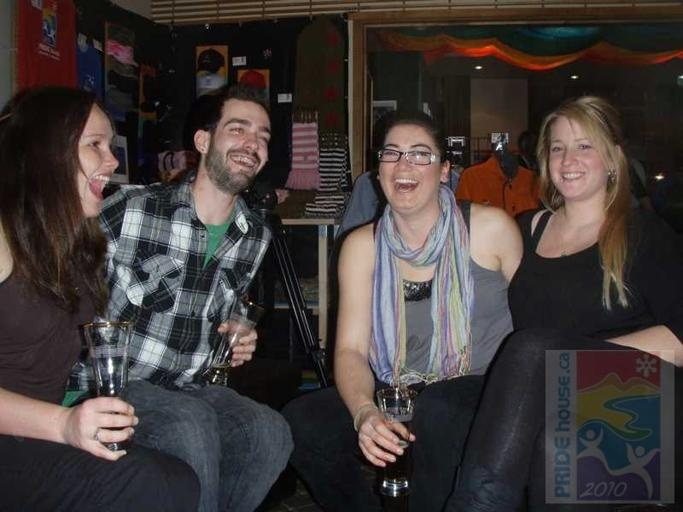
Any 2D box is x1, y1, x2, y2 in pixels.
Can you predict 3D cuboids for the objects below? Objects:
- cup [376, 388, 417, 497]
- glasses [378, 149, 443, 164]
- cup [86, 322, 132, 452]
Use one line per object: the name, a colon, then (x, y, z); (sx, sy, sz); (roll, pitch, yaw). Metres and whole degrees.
cup: (0.186, 0.661, 2.070); (0.128, 0.404, 0.132); (1, 5, 0)
glasses: (0.276, -0.414, 2.490); (0.249, 0.073, 0.090); (2, 6, 8)
cup: (-0.718, 0.316, 1.855); (0.099, 0.224, 0.128); (4, 6, 34)
